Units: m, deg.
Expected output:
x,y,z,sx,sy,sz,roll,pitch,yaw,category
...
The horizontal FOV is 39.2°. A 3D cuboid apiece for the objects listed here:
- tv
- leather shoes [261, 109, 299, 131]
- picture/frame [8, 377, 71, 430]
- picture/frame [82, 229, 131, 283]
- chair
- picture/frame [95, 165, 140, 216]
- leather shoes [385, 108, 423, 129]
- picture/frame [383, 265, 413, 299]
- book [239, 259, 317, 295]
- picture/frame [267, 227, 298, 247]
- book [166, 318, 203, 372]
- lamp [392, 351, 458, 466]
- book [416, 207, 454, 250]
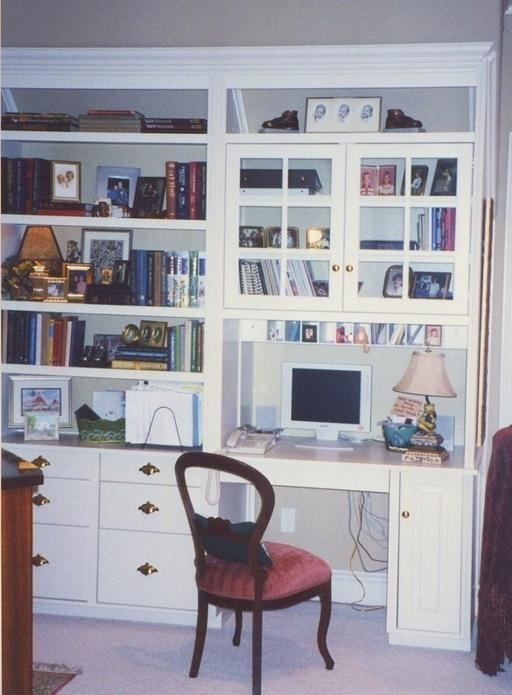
x,y,z,sx,sy,sz,roll,pitch,yaw,category
0.309,0.249,3.142,0.358,0.321,0.075,1,-2,14,tv
0.102,-0.934,2.974,0.145,0.090,0.079,6,11,4,leather shoes
-0.987,0.242,3.224,0.243,0.208,0.024,0,-1,-13,picture/frame
-0.663,-0.402,3.200,0.243,0.283,0.013,2,1,4,picture/frame
-0.016,0.757,2.570,0.504,0.849,0.525,2,4,27,chair
-0.591,-0.717,3.260,0.219,0.213,0.130,10,20,25,picture/frame
0.593,-0.903,2.875,0.148,0.092,0.082,1,9,12,leather shoes
0.566,-0.264,2.900,0.129,0.131,0.034,5,-1,36,picture/frame
0.079,-0.285,2.892,0.295,0.150,0.072,2,1,5,book
0.106,-0.455,2.998,0.127,0.081,0.029,2,3,-1,picture/frame
-0.294,-0.004,3.159,0.179,0.246,0.253,1,0,6,book
0.698,0.246,2.980,0.230,0.428,0.231,0,-1,11,lamp
0.705,-0.469,2.810,0.162,0.151,0.039,4,8,25,book
